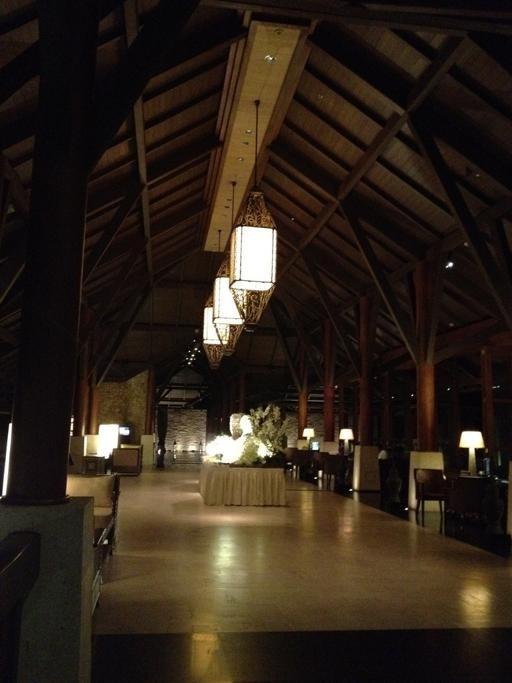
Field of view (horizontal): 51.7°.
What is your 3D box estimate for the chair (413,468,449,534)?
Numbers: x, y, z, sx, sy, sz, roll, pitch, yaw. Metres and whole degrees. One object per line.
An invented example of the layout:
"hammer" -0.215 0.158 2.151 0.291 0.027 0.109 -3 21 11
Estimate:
"chair" 2.590 2.350 7.838 0.450 0.974 0.535 2 -20 0
